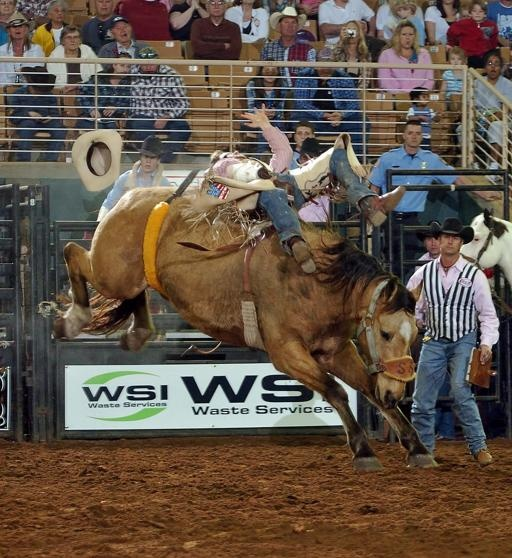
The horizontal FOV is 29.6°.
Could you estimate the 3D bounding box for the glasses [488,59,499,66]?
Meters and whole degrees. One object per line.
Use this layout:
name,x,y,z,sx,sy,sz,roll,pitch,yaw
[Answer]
glasses,3.602,-3.324,14.731,0.129,0.108,0.057,-1,-8,9

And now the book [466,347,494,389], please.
book,1.918,0.766,8.312,0.094,0.289,0.376,5,-9,44

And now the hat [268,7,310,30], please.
hat,0.461,-3.969,14.577,0.572,0.155,0.493,2,-15,-4

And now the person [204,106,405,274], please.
person,0.381,-0.617,7.809,1.677,1.111,0.698,-1,1,15

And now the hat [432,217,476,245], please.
hat,1.754,-0.460,8.487,0.314,0.098,0.265,13,-21,12

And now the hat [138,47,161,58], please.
hat,-1.501,-3.191,13.569,0.274,0.099,0.310,-2,8,-5

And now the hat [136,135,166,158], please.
hat,-1.156,-1.500,10.843,0.229,0.260,0.383,-1,1,-3

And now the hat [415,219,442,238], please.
hat,1.673,-0.487,9.243,0.307,0.088,0.282,1,-9,-2

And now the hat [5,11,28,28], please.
hat,-3.512,-3.873,14.342,0.500,0.133,0.451,-4,-3,-4

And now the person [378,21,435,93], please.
person,2.160,-3.240,14.018,0.784,1.242,1.516,-1,1,8

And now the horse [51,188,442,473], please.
horse,-0.073,0.261,8.652,1.229,1.582,4.411,-4,15,-39

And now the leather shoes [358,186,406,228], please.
leather shoes,0.969,-0.567,7.467,0.319,0.277,0.293,-1,1,-7

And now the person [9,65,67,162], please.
person,-2.920,-2.245,13.027,0.753,1.308,0.730,-2,1,-12

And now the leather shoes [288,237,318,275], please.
leather shoes,0.370,-0.192,7.554,0.142,0.308,0.184,-38,-3,7

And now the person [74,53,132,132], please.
person,-2.038,-2.485,13.067,0.727,0.937,0.667,-1,1,-6
